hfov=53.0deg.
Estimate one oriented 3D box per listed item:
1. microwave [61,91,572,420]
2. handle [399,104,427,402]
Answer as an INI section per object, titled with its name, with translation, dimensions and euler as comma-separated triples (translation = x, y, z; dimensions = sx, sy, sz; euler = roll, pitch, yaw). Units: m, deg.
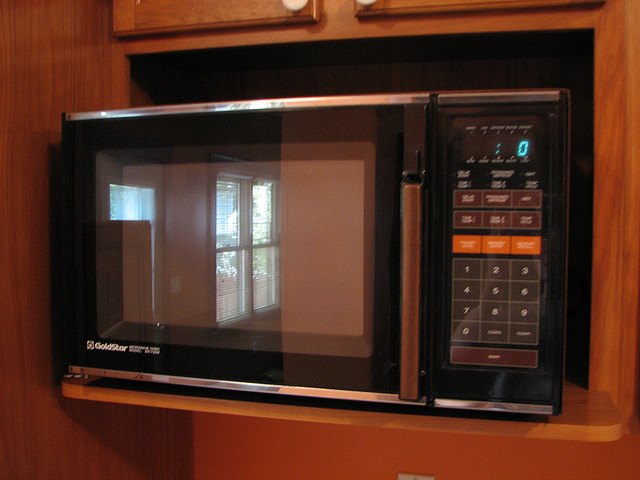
[microwave]
translation = -0.023, 0.001, 1.448
dimensions = 0.975, 0.636, 0.520
euler = 2, 8, 12
[handle]
translation = 0.172, 0.021, 1.169
dimensions = 0.045, 0.534, 0.032
euler = 0, 3, 11
